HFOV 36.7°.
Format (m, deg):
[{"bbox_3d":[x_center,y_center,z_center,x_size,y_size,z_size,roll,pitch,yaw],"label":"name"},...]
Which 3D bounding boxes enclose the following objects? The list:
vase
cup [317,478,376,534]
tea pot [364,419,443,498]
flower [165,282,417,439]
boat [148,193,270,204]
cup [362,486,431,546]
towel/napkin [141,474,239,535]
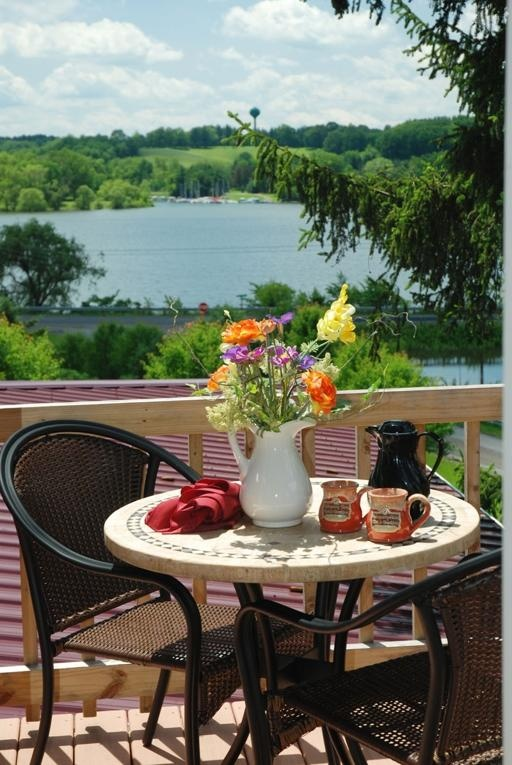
[{"bbox_3d":[0.015,0.172,1.551,0.216,0.220,0.142,-2,-2,17],"label":"vase"},{"bbox_3d":[0.168,0.242,1.517,0.084,0.094,0.105,7,10,42],"label":"cup"},{"bbox_3d":[0.310,0.164,1.584,0.149,0.161,0.108,1,8,20],"label":"tea pot"},{"bbox_3d":[0.119,-0.058,1.568,0.385,0.216,0.304,-2,3,-39],"label":"flower"},{"bbox_3d":[-2.897,-12.012,50.587,7.636,0.747,1.791,4,12,15],"label":"boat"},{"bbox_3d":[0.263,0.248,1.413,0.130,0.091,0.080,-1,-8,6],"label":"cup"},{"bbox_3d":[-0.114,0.234,1.544,0.150,0.089,0.199,1,8,6],"label":"towel/napkin"}]
